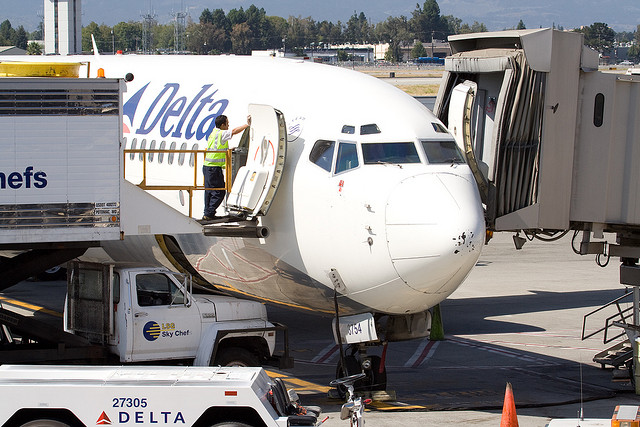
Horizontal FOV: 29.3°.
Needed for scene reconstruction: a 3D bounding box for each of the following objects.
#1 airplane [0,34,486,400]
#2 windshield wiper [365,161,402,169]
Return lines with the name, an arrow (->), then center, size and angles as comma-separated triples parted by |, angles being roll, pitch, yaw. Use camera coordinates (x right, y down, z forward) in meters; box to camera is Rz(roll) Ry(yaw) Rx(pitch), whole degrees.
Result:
airplane -> -0.578, 0.502, 35.388 | 10.537, 9.953, 3.495 | 5, 11, 33
windshield wiper -> 1.791, -1.311, 33.675 | 0.754, 0.076, 0.090 | 10, -5, -5
